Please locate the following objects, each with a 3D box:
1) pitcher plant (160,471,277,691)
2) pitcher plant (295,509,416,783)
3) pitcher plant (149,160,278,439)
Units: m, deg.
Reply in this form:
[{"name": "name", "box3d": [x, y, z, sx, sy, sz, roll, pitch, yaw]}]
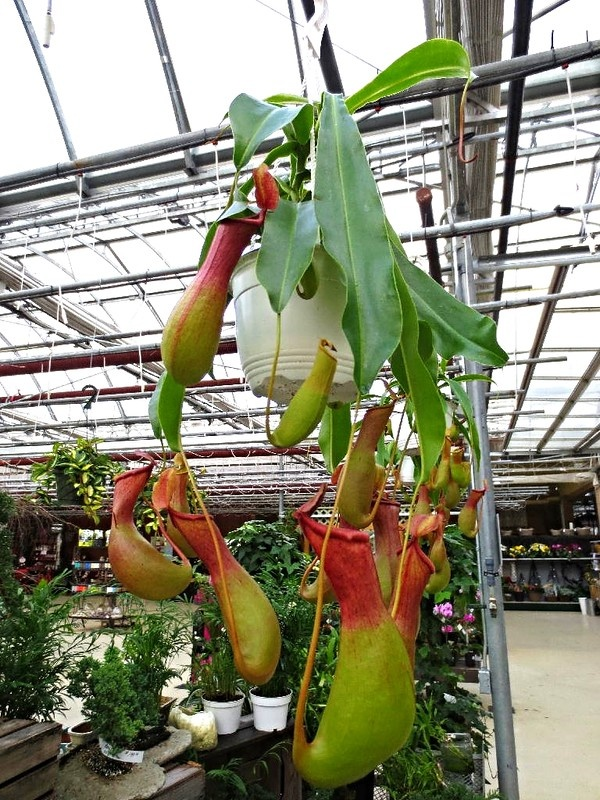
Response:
[{"name": "pitcher plant", "box3d": [-0.073, 0.180, 0.594, 0.074, 0.236, 0.057, -21, 16, -24]}, {"name": "pitcher plant", "box3d": [0.042, 0.208, 0.485, 0.107, 0.200, 0.073, 2, -10, -13]}, {"name": "pitcher plant", "box3d": [-0.109, -0.098, 0.742, 0.135, 0.325, 0.325, 3, -9, -14]}]
